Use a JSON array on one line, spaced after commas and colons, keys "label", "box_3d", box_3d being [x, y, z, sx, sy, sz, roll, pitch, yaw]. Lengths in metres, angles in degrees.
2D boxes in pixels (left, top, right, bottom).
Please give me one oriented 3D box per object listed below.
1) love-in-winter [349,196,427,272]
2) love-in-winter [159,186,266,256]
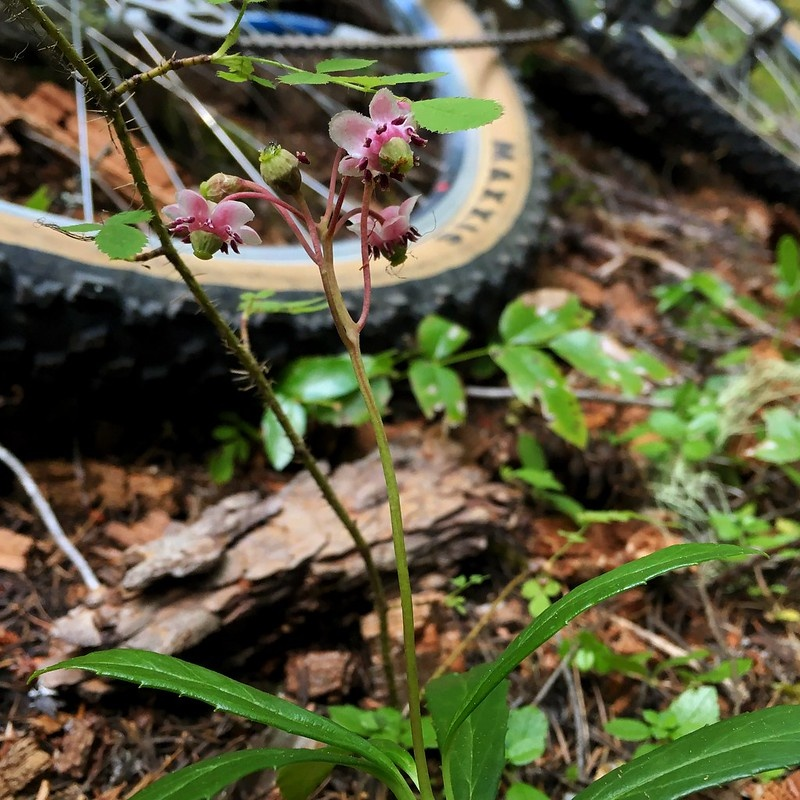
[{"label": "love-in-winter", "box_3d": [-0.013, -0.305, 1.608, 0.147, 0.118, 0.086, -23, 65, -34]}, {"label": "love-in-winter", "box_3d": [-0.335, -0.298, 1.567, 0.174, 0.077, 0.163, 11, -16, 24]}]
